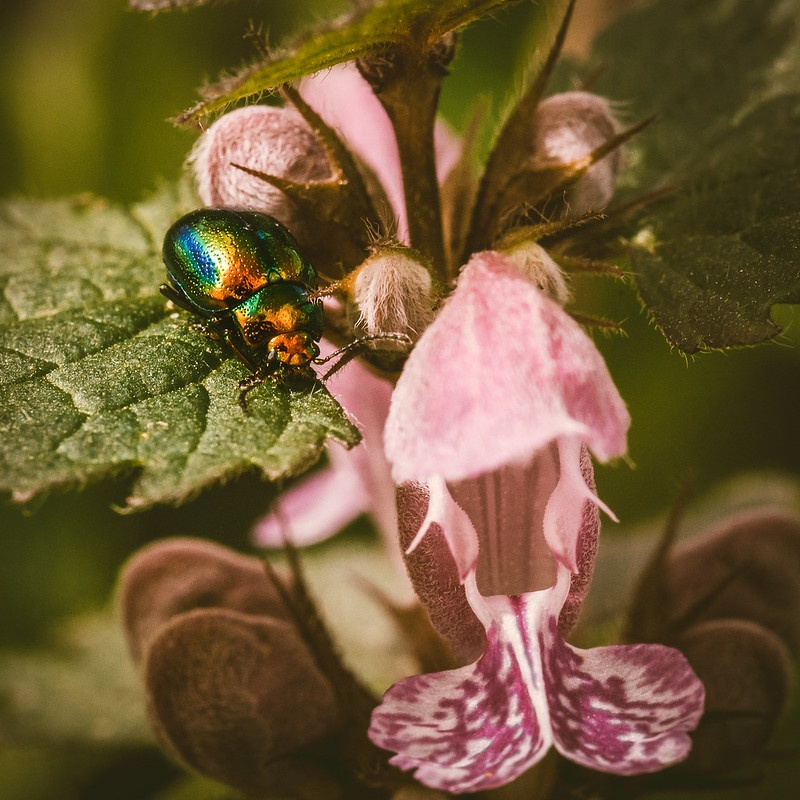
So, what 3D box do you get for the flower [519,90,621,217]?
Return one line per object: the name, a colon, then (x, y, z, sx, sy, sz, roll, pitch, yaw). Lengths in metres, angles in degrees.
flower: (0.171, -0.235, 1.058, 0.111, 0.118, 0.077, -1, 5, -20)
